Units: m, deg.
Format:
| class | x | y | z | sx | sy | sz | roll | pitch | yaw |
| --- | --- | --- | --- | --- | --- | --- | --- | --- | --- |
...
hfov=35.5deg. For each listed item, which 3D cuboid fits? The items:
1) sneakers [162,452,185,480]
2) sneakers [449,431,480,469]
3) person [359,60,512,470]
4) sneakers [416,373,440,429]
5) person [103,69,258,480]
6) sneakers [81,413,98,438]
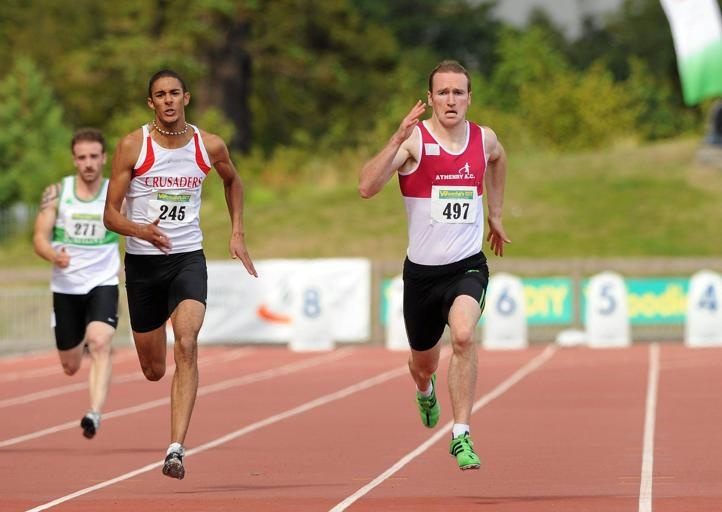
| class | x | y | z | sx | sy | sz | roll | pitch | yaw |
| --- | --- | --- | --- | --- | --- | --- | --- | --- | --- |
| sneakers | -1.359 | 1.528 | 8.155 | 0.105 | 0.122 | 0.247 | 8 | -25 | -12 |
| sneakers | 0.734 | 1.425 | 8.163 | 0.189 | 0.290 | 0.328 | -1 | 5 | 3 |
| person | 0.654 | 0.064 | 8.711 | 0.875 | 3.107 | 1.587 | -1 | 4 | 7 |
| sneakers | 0.555 | 1.296 | 9.863 | 0.188 | 0.551 | 0.244 | -4 | 28 | 12 |
| person | -1.506 | -0.022 | 8.693 | 0.932 | 2.789 | 1.238 | 0 | 4 | 12 |
| sneakers | -2.264 | 1.431 | 9.416 | 0.155 | 0.202 | 0.087 | 6 | 13 | 8 |
